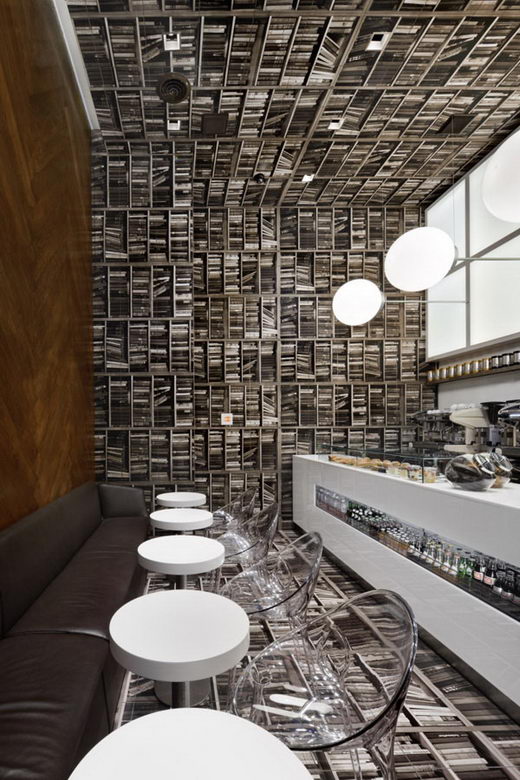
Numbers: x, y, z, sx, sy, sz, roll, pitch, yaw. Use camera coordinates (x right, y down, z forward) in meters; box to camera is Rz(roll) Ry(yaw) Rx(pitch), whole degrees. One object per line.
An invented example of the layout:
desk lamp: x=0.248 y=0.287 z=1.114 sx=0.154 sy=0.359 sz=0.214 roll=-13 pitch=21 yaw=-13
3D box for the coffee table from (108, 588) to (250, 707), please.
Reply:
coffee table: x=-0.261 y=0.703 z=1.790 sx=0.407 sy=0.308 sz=0.416 roll=1 pitch=2 yaw=-3

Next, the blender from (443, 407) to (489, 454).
blender: x=1.799 y=0.309 z=4.858 sx=0.225 sy=0.359 sz=0.456 roll=-1 pitch=0 yaw=-10

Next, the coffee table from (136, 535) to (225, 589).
coffee table: x=-0.374 y=0.763 z=2.547 sx=0.308 sy=0.353 sz=0.310 roll=2 pitch=1 yaw=11
